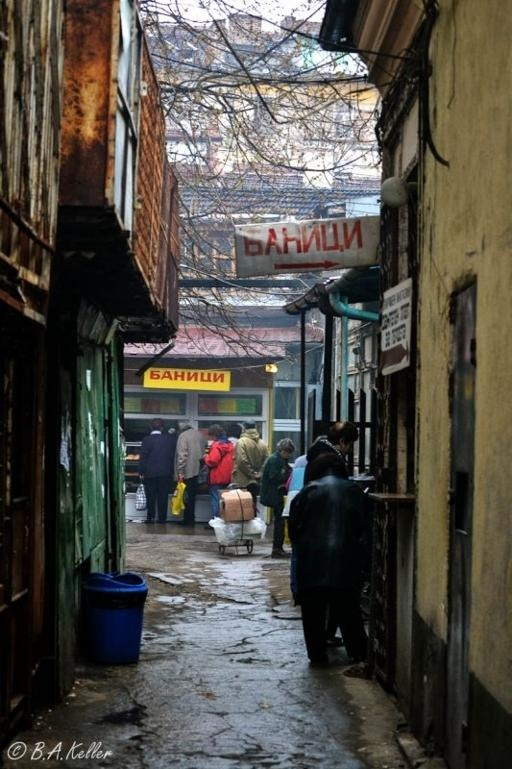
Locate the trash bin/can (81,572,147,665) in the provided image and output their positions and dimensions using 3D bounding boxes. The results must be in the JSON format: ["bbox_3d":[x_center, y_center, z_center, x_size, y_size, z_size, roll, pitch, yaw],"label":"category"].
[{"bbox_3d":[-1.008,1.657,6.355,0.438,0.580,0.488,3,-4,-13],"label":"trash bin/can"}]

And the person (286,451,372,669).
[{"bbox_3d":[0.527,1.263,6.555,0.586,1.505,0.460,1,-3,8],"label":"person"}]

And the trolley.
[{"bbox_3d":[-0.279,2.023,13.321,0.681,1.032,0.891,2,5,-1],"label":"trolley"}]

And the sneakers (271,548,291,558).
[{"bbox_3d":[0.366,2.465,13.038,0.261,0.216,0.116,-1,3,-12],"label":"sneakers"}]

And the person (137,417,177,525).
[{"bbox_3d":[-1.790,1.536,16.660,0.523,2.044,0.541,0,21,-8],"label":"person"}]

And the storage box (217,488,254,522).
[{"bbox_3d":[-0.273,1.691,13.037,0.444,0.597,0.385,1,11,-4],"label":"storage box"}]
